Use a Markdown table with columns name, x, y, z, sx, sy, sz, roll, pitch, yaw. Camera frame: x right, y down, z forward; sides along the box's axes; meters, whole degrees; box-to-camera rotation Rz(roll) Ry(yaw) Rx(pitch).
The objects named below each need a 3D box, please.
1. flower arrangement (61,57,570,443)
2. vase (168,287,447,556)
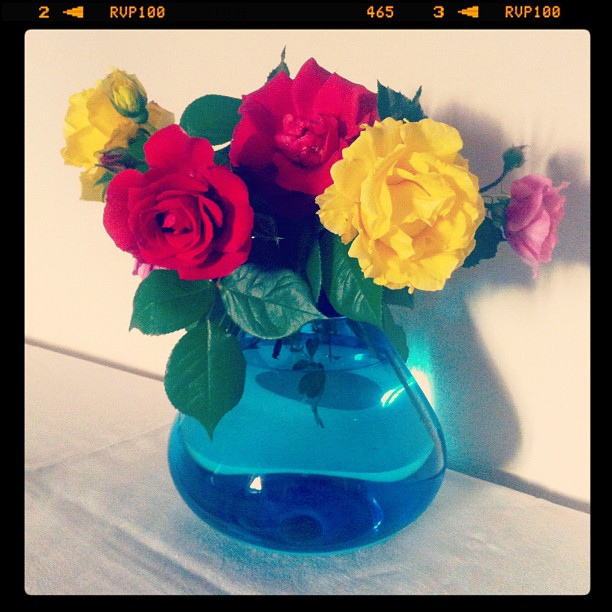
| name | x | y | z | sx | sy | sz | roll | pitch | yaw |
| --- | --- | --- | --- | --- | --- | --- | --- | --- | --- |
| flower arrangement | 0.011 | -0.054 | 0.631 | 0.336 | 0.234 | 0.321 | 20 | 56 | 11 |
| vase | 0.026 | 0.118 | 0.619 | 0.245 | 0.199 | 0.223 | -1 | 1 | 8 |
